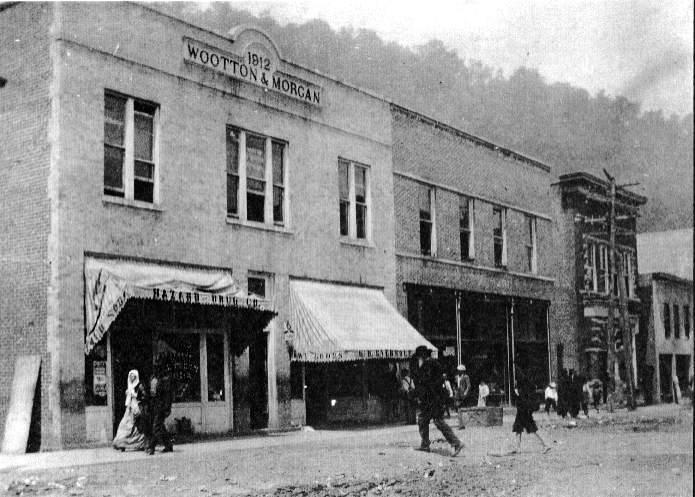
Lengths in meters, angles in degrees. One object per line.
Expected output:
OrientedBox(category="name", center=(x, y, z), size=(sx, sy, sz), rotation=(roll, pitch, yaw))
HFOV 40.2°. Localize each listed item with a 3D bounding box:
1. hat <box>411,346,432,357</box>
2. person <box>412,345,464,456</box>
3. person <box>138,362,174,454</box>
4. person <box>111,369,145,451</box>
OrientedBox(category="hat", center=(1.563, 2.203, 20.194), size=(0.229, 0.123, 0.280), rotation=(3, -16, -39))
OrientedBox(category="person", center=(1.814, 3.275, 19.738), size=(0.843, 1.986, 0.738), rotation=(-3, -14, 5))
OrientedBox(category="person", center=(-3.960, 3.347, 19.696), size=(0.593, 1.929, 0.719), rotation=(6, -16, -30))
OrientedBox(category="person", center=(-4.617, 3.486, 20.101), size=(0.634, 1.824, 0.492), rotation=(8, -35, -21))
